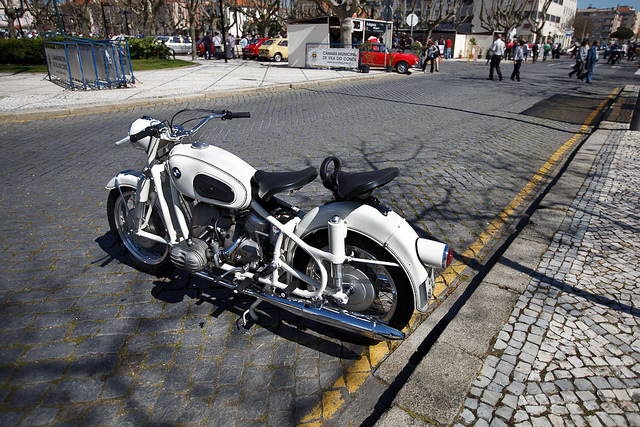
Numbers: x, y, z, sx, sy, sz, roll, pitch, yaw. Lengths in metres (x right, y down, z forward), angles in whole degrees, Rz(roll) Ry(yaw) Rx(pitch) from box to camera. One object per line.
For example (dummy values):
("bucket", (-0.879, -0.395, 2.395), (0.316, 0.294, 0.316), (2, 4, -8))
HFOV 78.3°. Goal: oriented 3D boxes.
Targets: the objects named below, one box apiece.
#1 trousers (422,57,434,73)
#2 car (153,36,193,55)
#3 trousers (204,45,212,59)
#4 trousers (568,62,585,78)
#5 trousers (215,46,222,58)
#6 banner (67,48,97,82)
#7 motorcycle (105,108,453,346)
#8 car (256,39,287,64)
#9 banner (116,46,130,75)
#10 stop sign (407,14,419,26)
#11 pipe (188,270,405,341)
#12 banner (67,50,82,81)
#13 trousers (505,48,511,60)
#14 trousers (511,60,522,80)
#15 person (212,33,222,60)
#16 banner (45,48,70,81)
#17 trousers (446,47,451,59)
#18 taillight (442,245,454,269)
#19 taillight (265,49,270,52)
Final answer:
("trousers", (6.835, -9.406, 24.539), (0.595, 0.916, 1.340), (5, 25, 12))
("car", (-13.426, -15.896, 36.660), (2.264, 1.488, 1.167), (-1, 24, 0))
("trousers", (-9.145, -13.330, 31.879), (0.469, 1.018, 2.000), (-5, 25, -10))
("trousers", (15.133, -8.597, 22.818), (0.626, 0.714, 1.132), (-19, 29, 2))
("trousers", (-8.015, -12.815, 30.727), (0.338, 0.844, 0.543), (-9, 25, -18))
("banner", (-8.776, -5.613, 14.479), (1.098, 1.217, 0.121), (13, 18, 31))
("motorcycle", (-0.668, 0.010, 4.534), (4.056, 2.013, 1.885), (21, 29, 19))
("car", (-3.744, -13.054, 31.022), (2.288, 1.618, 2.147), (-2, 24, -3))
("banner", (-7.693, -6.043, 15.351), (0.328, 1.071, 0.945), (-10, 26, -19))
("stop sign", (5.903, -12.219, 24.448), (0.817, 0.844, 0.194), (14, 14, 42))
("pipe", (-0.158, 0.892, 3.709), (2.092, 0.177, 0.215), (15, 47, 21))
("banner", (-9.113, -5.626, 14.569), (0.899, 0.991, 0.107), (28, 45, 20))
("trousers", (19.364, -16.618, 40.283), (0.606, 1.177, 4.054), (10, 27, 22))
("trousers", (10.394, -7.671, 20.655), (0.421, 0.996, 0.993), (10, 26, 23))
("person", (-7.972, -13.228, 30.644), (0.557, 1.890, 1.062), (-6, 24, -13))
("banner", (-10.478, -6.042, 15.676), (1.808, 1.081, 0.044), (26, 36, 32))
("trousers", (16.230, -20.385, 49.106), (0.498, 1.131, 3.991), (6, 26, 16))
("taillight", (1.076, 0.368, 3.306), (0.065, 0.161, 0.153), (12, 27, 27))
("taillight", (-4.070, -12.713, 30.275), (0.204, 0.196, 0.056), (9, 16, 9))
